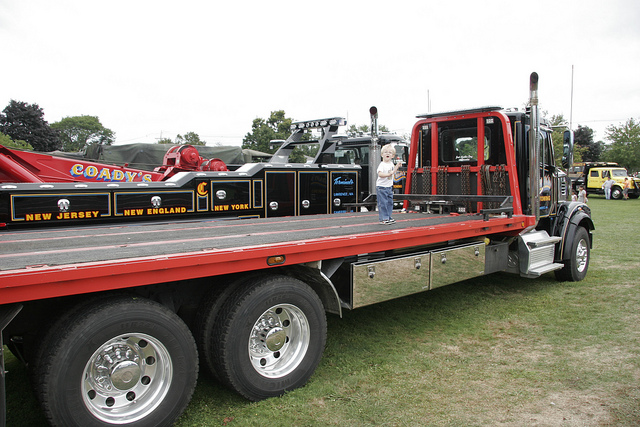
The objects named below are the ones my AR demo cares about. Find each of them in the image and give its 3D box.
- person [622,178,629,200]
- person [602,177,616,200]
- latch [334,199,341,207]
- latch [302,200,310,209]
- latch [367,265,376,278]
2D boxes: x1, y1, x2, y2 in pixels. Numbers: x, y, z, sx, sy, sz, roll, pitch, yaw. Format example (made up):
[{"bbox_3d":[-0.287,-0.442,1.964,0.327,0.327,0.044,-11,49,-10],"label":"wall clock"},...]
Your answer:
[{"bbox_3d":[22.326,-1.789,30.279,0.356,1.493,1.028,8,13,36],"label":"person"},{"bbox_3d":[21.555,-1.882,31.007,0.625,1.595,1.887,7,13,35],"label":"person"},{"bbox_3d":[0.372,-0.252,9.155,0.137,0.166,0.090,-8,-8,-31],"label":"latch"},{"bbox_3d":[-0.292,-0.204,8.651,0.144,0.149,0.148,-16,-14,23],"label":"latch"},{"bbox_3d":[0.618,0.696,5.049,0.060,0.160,0.165,1,3,40],"label":"latch"}]
